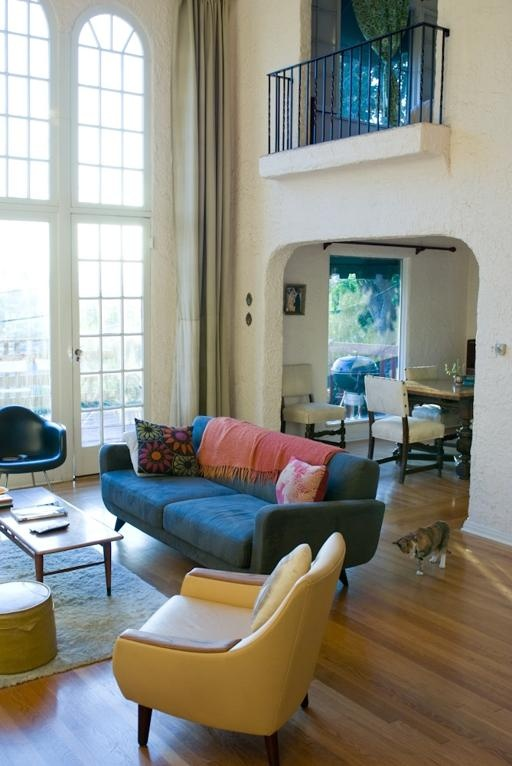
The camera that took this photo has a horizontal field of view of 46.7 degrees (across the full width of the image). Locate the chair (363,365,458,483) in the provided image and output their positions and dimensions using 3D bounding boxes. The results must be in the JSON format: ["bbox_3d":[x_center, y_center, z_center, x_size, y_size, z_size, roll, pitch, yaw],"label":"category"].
[{"bbox_3d":[1.553,0.433,5.857,0.706,1.360,0.805,-9,13,-29],"label":"chair"}]

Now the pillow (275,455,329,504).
[{"bbox_3d":[0.238,0.527,3.070,0.220,0.222,0.402,1,1,-7],"label":"pillow"}]

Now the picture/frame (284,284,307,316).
[{"bbox_3d":[0.421,-0.930,6.569,0.340,0.371,0.028,-4,9,-44],"label":"picture/frame"}]

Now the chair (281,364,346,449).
[{"bbox_3d":[0.577,0.284,6.499,0.569,1.071,0.584,-4,4,-41],"label":"chair"}]
